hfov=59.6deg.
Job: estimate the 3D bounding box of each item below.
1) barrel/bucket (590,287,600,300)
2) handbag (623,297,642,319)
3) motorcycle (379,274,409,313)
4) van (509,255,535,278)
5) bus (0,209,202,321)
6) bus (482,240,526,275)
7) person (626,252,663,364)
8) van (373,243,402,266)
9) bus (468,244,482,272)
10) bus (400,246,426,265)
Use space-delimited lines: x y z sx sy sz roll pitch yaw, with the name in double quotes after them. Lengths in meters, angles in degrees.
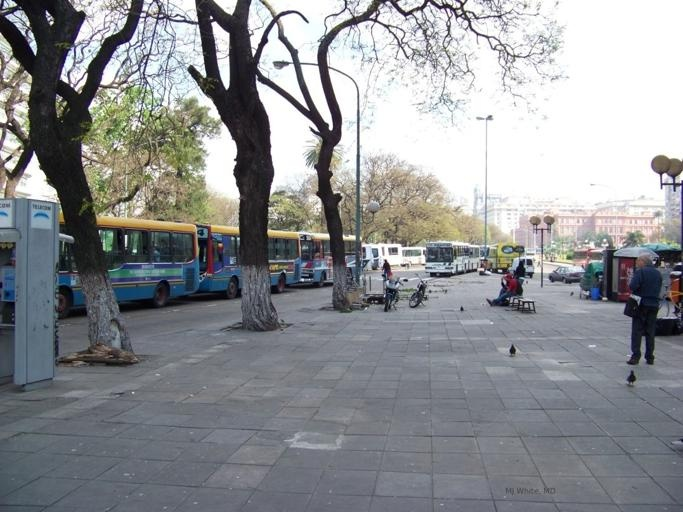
10.820 1.573 25.451 0.344 0.506 0.300 2 5 34 "barrel/bucket"
5.310 0.932 10.973 0.197 0.405 0.312 -2 4 -22 "handbag"
1.879 1.320 21.453 0.741 0.956 1.619 2 -3 12 "motorcycle"
12.067 0.685 40.050 1.579 1.938 2.992 0 6 7 "van"
-7.667 0.366 23.650 3.014 3.847 9.825 -1 4 -2 "bus"
15.783 0.427 59.351 2.905 3.755 8.569 0 2 8 "bus"
5.590 0.977 11.035 0.534 1.962 0.841 2 4 29 "person"
5.105 -0.400 68.661 1.630 2.099 4.429 -3 -7 27 "van"
14.986 0.216 68.523 1.611 2.455 4.549 1 4 14 "bus"
9.540 -0.019 79.389 1.746 2.299 5.124 3 6 31 "bus"
